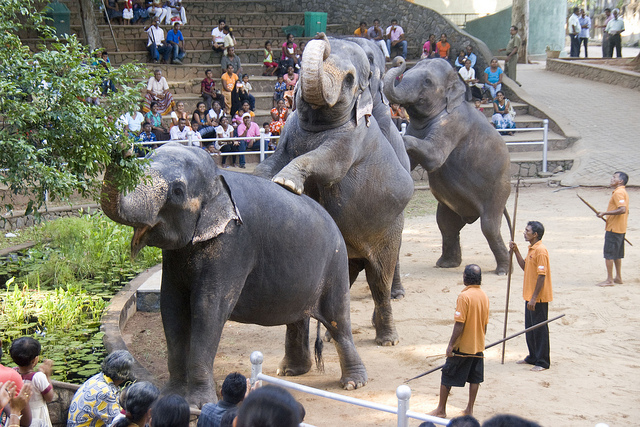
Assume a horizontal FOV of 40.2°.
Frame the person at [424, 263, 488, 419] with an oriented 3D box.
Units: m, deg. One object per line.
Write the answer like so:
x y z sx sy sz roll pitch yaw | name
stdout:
1.598 1.387 9.661 0.464 1.631 0.845 9 15 35 | person

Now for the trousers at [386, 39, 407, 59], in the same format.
2.137 -4.729 25.041 0.556 0.643 0.661 1 -4 8 | trousers

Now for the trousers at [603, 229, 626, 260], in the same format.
4.336 0.456 12.972 0.376 0.623 0.512 -1 3 21 | trousers

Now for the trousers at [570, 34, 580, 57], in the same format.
9.092 -6.004 31.033 0.306 0.745 0.609 4 12 17 | trousers

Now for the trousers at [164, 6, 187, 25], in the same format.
-3.807 -5.247 22.882 0.643 0.577 0.487 -3 9 -23 | trousers

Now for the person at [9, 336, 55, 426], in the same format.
-2.954 1.688 8.975 0.390 0.936 0.695 -4 12 -18 | person

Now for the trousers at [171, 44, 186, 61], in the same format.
-3.550 -4.051 21.770 0.139 0.337 0.358 -2 19 42 | trousers

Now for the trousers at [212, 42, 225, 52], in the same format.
-2.609 -4.310 22.477 0.286 0.239 0.289 -1 11 -8 | trousers

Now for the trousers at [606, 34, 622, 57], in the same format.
10.263 -5.892 30.365 0.422 0.722 1.077 4 11 17 | trousers

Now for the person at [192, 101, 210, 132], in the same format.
-2.628 -2.180 19.357 0.375 0.593 1.072 -1 11 -8 | person

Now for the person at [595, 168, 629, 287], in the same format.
4.401 0.185 13.050 0.471 1.691 0.778 4 12 18 | person

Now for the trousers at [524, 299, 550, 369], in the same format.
2.663 1.442 10.631 0.313 0.811 0.360 3 12 11 | trousers

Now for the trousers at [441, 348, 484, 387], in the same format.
1.586 1.692 9.639 0.509 0.436 0.276 3 8 -28 | trousers

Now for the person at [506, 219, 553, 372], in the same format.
2.709 0.891 11.115 0.584 1.751 1.602 3 12 13 | person
